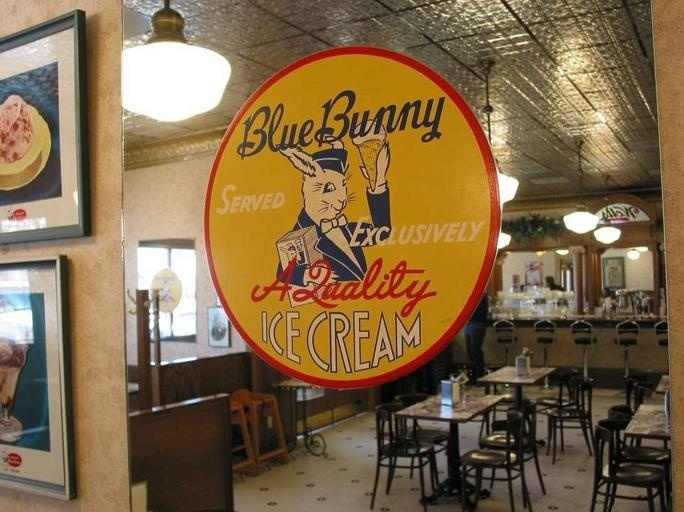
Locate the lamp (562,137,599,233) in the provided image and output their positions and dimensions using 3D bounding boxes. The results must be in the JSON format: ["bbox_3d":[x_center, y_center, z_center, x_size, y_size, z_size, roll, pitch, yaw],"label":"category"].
[{"bbox_3d":[0.484,-0.144,1.377,0.065,0.207,0.048,-2,-5,2],"label":"lamp"}]

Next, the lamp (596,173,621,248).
[{"bbox_3d":[0.531,-0.068,1.342,0.050,0.099,0.031,-4,-5,20],"label":"lamp"}]

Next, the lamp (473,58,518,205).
[{"bbox_3d":[0.331,-0.288,1.495,0.104,0.269,0.095,7,21,41],"label":"lamp"}]

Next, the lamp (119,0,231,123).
[{"bbox_3d":[-0.469,-0.529,1.847,0.394,0.350,0.094,-7,-6,39],"label":"lamp"}]
